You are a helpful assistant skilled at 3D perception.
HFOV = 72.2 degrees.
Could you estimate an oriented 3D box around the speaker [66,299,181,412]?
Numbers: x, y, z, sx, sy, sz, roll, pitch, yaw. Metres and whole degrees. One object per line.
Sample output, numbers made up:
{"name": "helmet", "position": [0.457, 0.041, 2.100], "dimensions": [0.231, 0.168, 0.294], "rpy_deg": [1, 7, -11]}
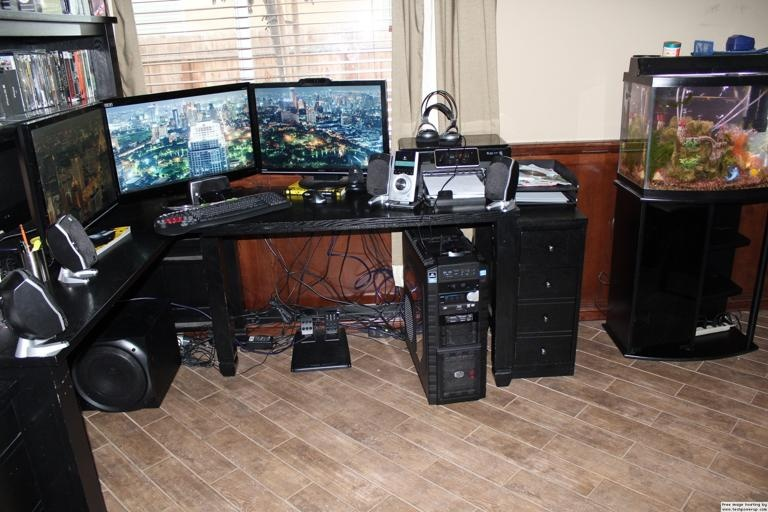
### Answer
{"name": "speaker", "position": [-1.564, 0.633, 3.217], "dimensions": [0.555, 0.451, 0.545], "rpy_deg": [6, 12, 4]}

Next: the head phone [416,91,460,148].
{"name": "head phone", "position": [0.334, -0.858, 3.285], "dimensions": [0.320, 0.320, 0.297], "rpy_deg": [-3, 13, -21]}

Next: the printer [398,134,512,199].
{"name": "printer", "position": [0.326, -0.566, 3.313], "dimensions": [0.778, 0.325, 0.717], "rpy_deg": [-5, 28, -20]}

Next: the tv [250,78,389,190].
{"name": "tv", "position": [-0.391, -0.787, 3.321], "dimensions": [0.974, 0.636, 0.229], "rpy_deg": [5, 15, 21]}

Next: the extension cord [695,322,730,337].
{"name": "extension cord", "position": [2.154, 0.484, 3.461], "dimensions": [0.360, 0.062, 0.038], "rpy_deg": [-1, -4, -5]}

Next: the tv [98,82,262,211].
{"name": "tv", "position": [-1.227, -0.640, 3.147], "dimensions": [0.887, 0.521, 0.039], "rpy_deg": [-15, 29, -24]}

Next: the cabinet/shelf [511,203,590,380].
{"name": "cabinet/shelf", "position": [0.963, 0.264, 3.111], "dimensions": [0.380, 0.962, 0.285], "rpy_deg": [1, 27, 10]}

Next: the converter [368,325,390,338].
{"name": "converter", "position": [-0.045, 0.532, 3.672], "dimensions": [0.124, 0.040, 0.067], "rpy_deg": [2, 8, 0]}

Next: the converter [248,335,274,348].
{"name": "converter", "position": [-0.837, 0.582, 3.584], "dimensions": [0.154, 0.045, 0.077], "rpy_deg": [1, 21, -3]}
